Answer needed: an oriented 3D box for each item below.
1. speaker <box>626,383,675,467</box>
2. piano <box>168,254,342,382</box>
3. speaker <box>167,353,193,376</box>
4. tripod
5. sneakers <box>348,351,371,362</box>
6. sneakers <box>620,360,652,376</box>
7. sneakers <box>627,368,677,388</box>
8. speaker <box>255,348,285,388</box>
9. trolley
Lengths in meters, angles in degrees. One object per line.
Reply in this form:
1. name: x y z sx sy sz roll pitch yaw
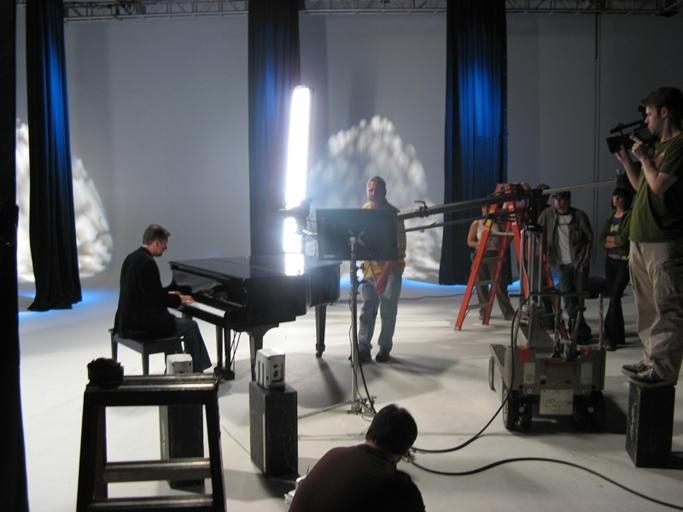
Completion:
1. speaker: 2.155 1.156 4.286 0.301 0.587 0.233 7 15 29
2. piano: -0.803 0.552 5.560 1.327 0.985 1.680 3 7 22
3. speaker: -1.131 0.746 4.292 0.149 0.156 0.151 0 1 -8
4. tripod: 0.057 0.932 5.596 0.964 1.516 1.038 3 15 3
5. sneakers: 0.191 0.962 5.978 0.194 0.105 0.127 -7 5 -17
6. sneakers: 2.063 0.787 4.318 0.186 0.090 0.072 -13 3 10
7. sneakers: 2.174 0.842 4.282 0.315 0.163 0.129 3 -1 6
8. speaker: -0.504 0.794 4.344 0.155 0.254 0.227 -2 5 -33
9. trolley: 1.635 0.557 4.803 0.770 1.469 0.822 1 13 6
